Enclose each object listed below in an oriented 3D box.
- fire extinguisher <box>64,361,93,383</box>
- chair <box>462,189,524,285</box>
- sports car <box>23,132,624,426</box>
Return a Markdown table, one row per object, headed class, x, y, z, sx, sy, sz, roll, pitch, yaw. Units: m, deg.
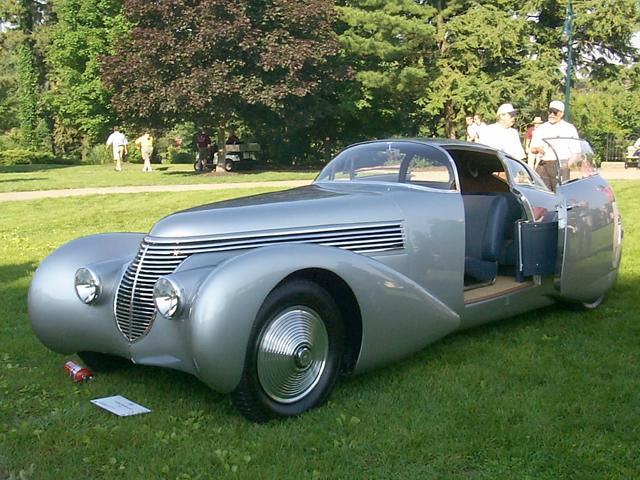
| class | x | y | z | sx | sy | sz | roll | pitch | yaw |
| --- | --- | --- | --- | --- | --- | --- | --- | --- | --- |
| fire extinguisher | -2.297 | 1.243 | 6.055 | 0.126 | 0.142 | 0.344 | 8 | 3 | -35 |
| chair | 2.000 | -0.051 | 7.554 | 0.656 | 1.198 | 0.682 | -7 | 14 | -37 |
| sports car | 0.822 | 0.055 | 8.061 | 7.761 | 2.409 | 3.689 | -10 | 9 | -42 |
